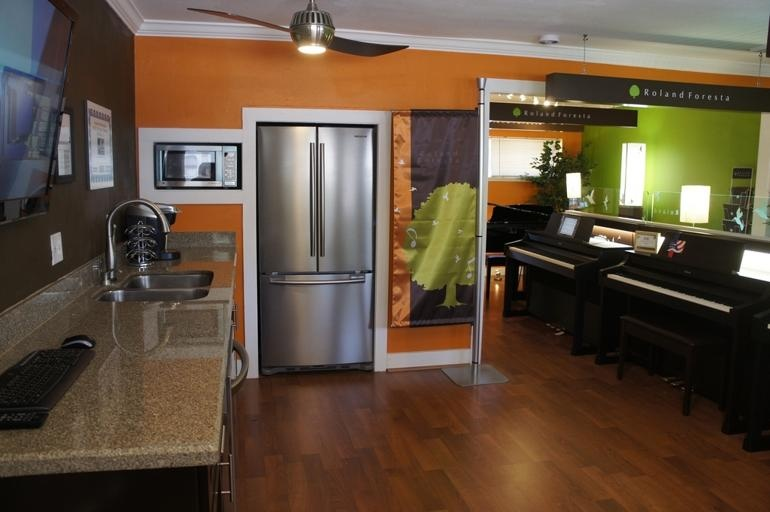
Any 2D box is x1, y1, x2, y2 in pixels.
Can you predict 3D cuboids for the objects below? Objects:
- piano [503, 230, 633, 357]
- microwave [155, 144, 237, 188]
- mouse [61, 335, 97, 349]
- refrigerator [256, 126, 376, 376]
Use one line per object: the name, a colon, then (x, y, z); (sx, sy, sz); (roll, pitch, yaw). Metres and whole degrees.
piano: (1.963, 0.399, 5.822); (0.479, 0.831, 1.231); (-1, 7, -12)
microwave: (-1.649, -0.788, 4.719); (0.688, 0.389, 0.389); (0, 5, -8)
mouse: (-1.434, 0.391, 2.546); (0.124, 0.036, 0.067); (0, 1, -8)
refrigerator: (-0.627, -0.050, 4.934); (1.047, 2.154, 0.500); (0, 15, -2)
